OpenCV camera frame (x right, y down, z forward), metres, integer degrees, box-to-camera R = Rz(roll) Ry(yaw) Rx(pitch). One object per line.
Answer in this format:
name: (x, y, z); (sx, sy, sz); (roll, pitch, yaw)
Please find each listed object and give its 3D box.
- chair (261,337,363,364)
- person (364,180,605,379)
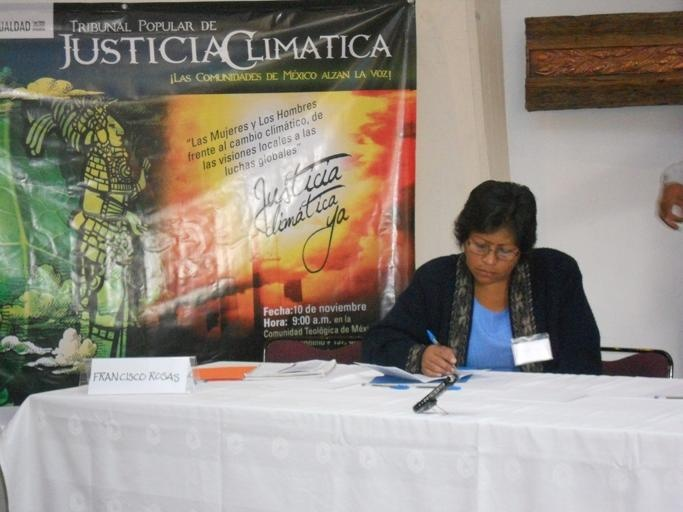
chair: (-0.150, 0.451, 3.572); (0.490, 0.114, 0.200); (0, -1, -20)
person: (0.536, 0.082, 2.950); (0.820, 0.744, 0.522); (0, -1, -26)
